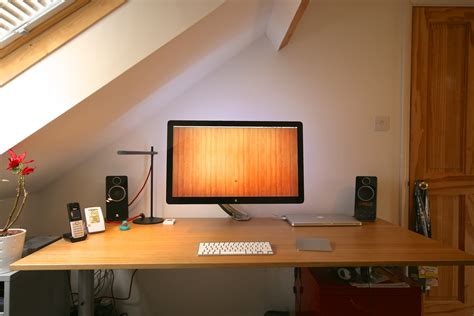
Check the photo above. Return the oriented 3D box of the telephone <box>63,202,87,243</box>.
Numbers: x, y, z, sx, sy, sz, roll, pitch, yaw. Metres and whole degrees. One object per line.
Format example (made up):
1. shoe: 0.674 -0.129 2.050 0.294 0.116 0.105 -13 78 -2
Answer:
1. telephone: -1.115 0.433 2.621 0.170 0.253 0.158 -4 0 12

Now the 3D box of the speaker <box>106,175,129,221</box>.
1. speaker: -0.913 0.308 2.925 0.174 0.326 0.125 -4 15 -15

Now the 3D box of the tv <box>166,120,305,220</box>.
1. tv: -0.016 -0.070 3.008 1.097 0.730 0.604 -1 -6 -2
